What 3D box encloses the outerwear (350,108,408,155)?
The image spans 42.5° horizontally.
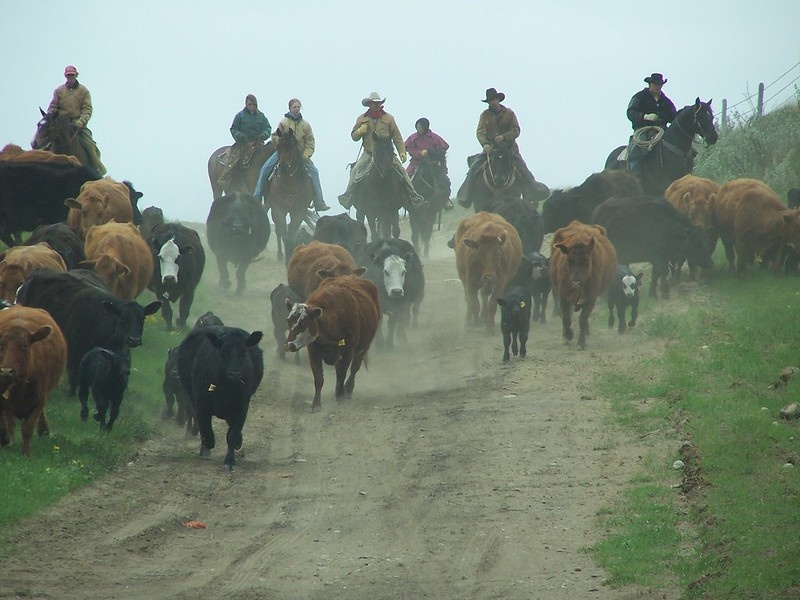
[{"bbox_3d":[-0.713,-4.464,28.209,1.260,1.624,1.441,1,-4,-30],"label":"outerwear"}]

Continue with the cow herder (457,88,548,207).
[{"bbox_3d":[2.811,-4.197,29.107,2.339,3.574,3.973,-3,5,3],"label":"cow herder"}]

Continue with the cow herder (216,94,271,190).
[{"bbox_3d":[-4.595,-4.495,31.580,1.317,3.366,4.020,3,-10,-6],"label":"cow herder"}]

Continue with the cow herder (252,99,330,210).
[{"bbox_3d":[-3.151,-4.209,29.741,2.205,3.119,3.173,1,10,-7],"label":"cow herder"}]

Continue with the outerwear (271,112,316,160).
[{"bbox_3d":[-2.988,-4.642,29.474,1.036,1.506,0.750,-2,-9,-3],"label":"outerwear"}]

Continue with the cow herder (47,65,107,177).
[{"bbox_3d":[-7.654,-4.007,23.994,1.131,2.741,1.190,1,12,2],"label":"cow herder"}]

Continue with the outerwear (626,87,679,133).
[{"bbox_3d":[6.380,-4.821,26.007,1.280,1.162,0.764,0,-4,-4],"label":"outerwear"}]

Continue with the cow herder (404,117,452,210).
[{"bbox_3d":[0.916,-4.618,35.261,1.262,2.910,2.821,-6,-5,4],"label":"cow herder"}]
